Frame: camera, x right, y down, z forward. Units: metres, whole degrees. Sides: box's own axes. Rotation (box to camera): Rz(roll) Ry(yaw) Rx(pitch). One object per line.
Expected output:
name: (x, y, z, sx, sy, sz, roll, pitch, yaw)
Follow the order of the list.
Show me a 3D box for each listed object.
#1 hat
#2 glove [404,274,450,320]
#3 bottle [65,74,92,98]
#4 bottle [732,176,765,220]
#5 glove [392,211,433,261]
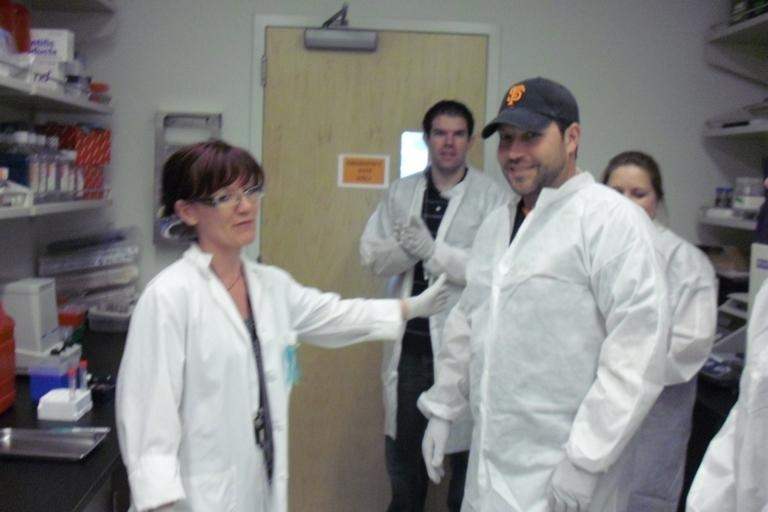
hat: (0.511, -0.498, 2.169, 0.267, 0.166, 0.196, -1, 2, -26)
glove: (0.189, 0.177, 2.610, 0.203, 0.119, 0.058, -4, 27, -38)
bottle: (-1.483, -0.833, 3.001, 0.077, 0.113, 0.302, 0, 7, -12)
bottle: (1.876, -0.291, 3.165, 0.059, 0.205, 0.190, 10, -2, -37)
glove: (0.133, -0.099, 2.917, 0.158, 0.217, 0.082, -34, 4, -1)
